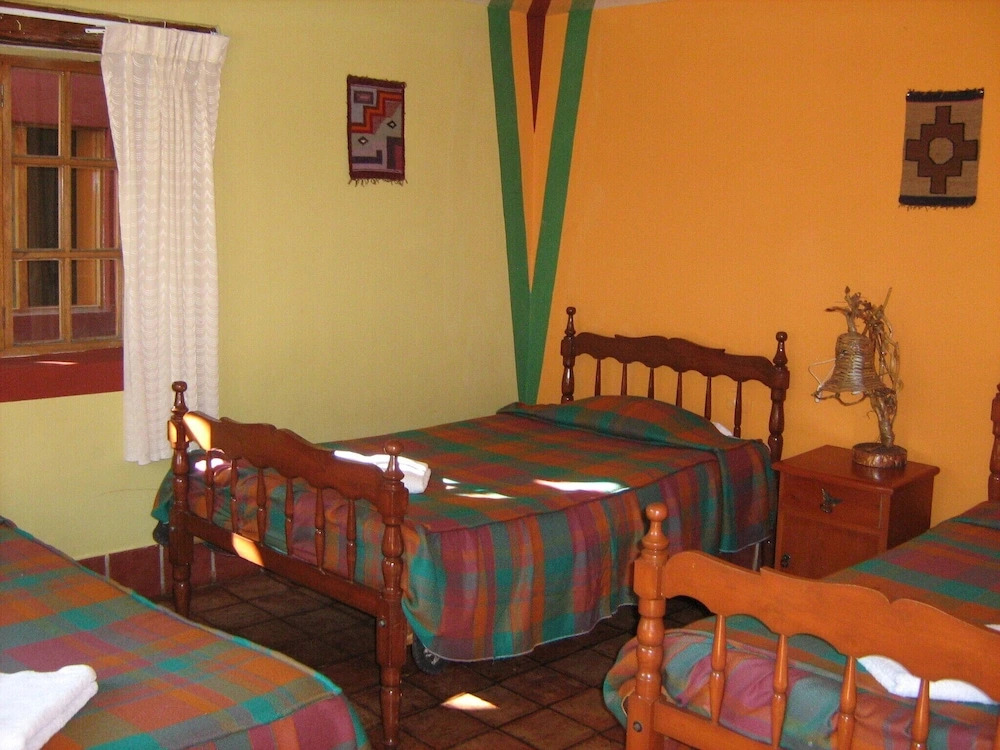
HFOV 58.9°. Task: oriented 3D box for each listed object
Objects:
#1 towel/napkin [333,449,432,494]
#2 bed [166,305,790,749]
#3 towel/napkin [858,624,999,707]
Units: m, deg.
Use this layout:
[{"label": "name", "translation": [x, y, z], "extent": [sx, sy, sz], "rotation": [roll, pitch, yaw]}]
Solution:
[{"label": "towel/napkin", "translation": [-0.497, 0.356, 3.667], "extent": [0.380, 0.112, 0.206], "rotation": [15, 15, 11]}, {"label": "bed", "translation": [0.143, 0.506, 4.287], "extent": [2.551, 1.306, 1.737], "rotation": [-10, 16, -43]}, {"label": "towel/napkin", "translation": [1.114, 0.807, 2.327], "extent": [0.283, 0.073, 0.308], "rotation": [-7, 11, -44]}]
